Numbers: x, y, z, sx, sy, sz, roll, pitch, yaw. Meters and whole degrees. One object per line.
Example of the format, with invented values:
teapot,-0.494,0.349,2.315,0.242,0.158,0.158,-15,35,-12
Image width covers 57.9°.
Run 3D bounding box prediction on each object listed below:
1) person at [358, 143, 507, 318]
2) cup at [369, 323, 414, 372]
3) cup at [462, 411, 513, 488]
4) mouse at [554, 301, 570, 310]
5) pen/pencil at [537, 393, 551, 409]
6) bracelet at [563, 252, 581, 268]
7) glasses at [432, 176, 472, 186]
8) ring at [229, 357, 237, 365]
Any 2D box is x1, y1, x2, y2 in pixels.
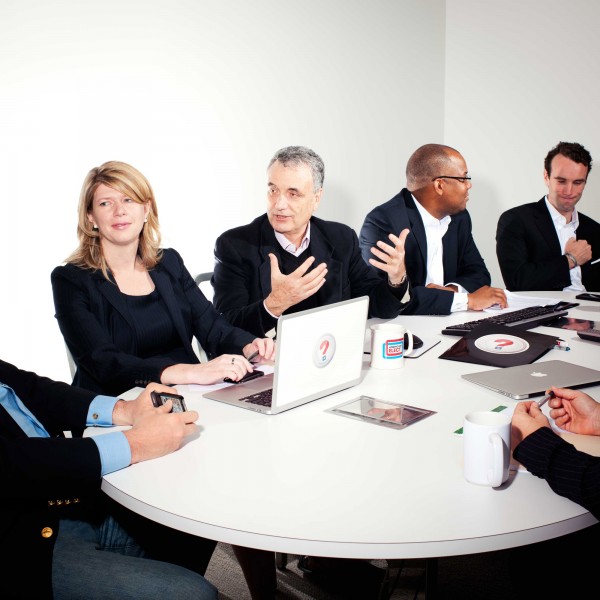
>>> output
person,0.801,-0.111,3.381,0.911,1.532,0.717,2,13,14
cup,0.280,0.151,1.699,0.153,0.114,0.117,-1,2,-30
cup,0.349,0.273,1.010,0.087,0.121,0.129,1,12,20
mouse,1.155,0.028,2.381,0.052,0.013,0.056,6,11,44
pen/pencil,0.594,0.249,1.322,0.083,0.011,0.010,-27,-20,-44
bracelet,1.785,-0.260,3.556,0.102,0.121,0.042,-3,-22,-2
glasses,0.922,-0.715,3.249,0.252,0.064,0.101,-9,13,-32
ring,-0.203,0.184,1.626,0.013,0.014,0.014,7,6,-1
